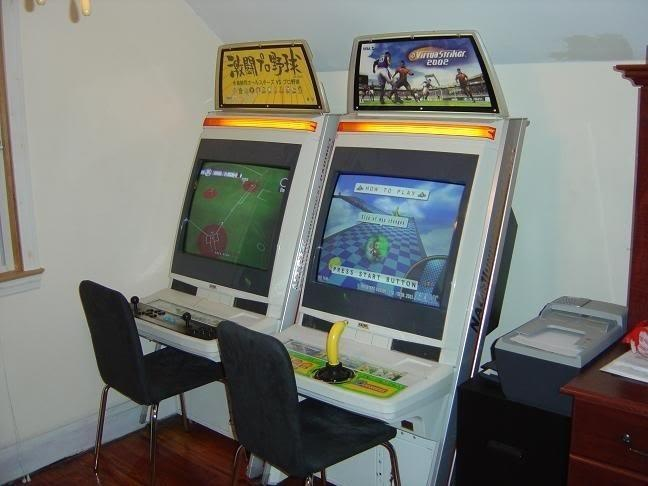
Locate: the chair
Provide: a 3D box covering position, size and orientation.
[{"bbox_3d":[-0.383,0.617,2.109,0.951,0.637,0.399,11,21,38],"label":"chair"}]

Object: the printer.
[{"bbox_3d":[0.991,0.414,1.872,0.577,0.258,0.313,-14,13,-38],"label":"printer"}]

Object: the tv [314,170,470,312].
[{"bbox_3d":[0.342,-0.023,2.167,0.703,0.602,0.354,10,-1,38],"label":"tv"}]

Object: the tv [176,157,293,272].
[{"bbox_3d":[-0.436,-0.119,2.498,0.624,0.568,0.148,7,-5,36],"label":"tv"}]
